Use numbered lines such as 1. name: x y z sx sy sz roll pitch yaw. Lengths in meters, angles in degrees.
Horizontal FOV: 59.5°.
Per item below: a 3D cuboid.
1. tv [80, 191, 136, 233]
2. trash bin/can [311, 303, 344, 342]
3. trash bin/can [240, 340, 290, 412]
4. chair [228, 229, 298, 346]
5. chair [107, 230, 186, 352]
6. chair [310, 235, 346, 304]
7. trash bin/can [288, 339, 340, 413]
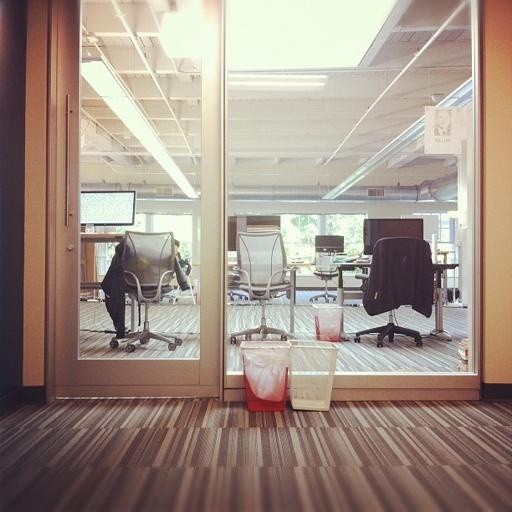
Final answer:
1. tv: -1.459 -0.472 4.493 0.542 0.360 0.208 -5 9 -34
2. trash bin/can: 0.687 0.600 4.134 0.296 0.456 0.305 0 -5 -3
3. trash bin/can: 0.051 0.640 2.580 0.338 0.498 0.317 0 -1 2
4. chair: 0.069 0.290 4.200 0.605 1.058 0.753 1 7 4
5. chair: -0.903 0.294 3.727 0.552 0.966 0.483 0 -1 -17
6. chair: 1.297 0.234 8.168 0.556 1.222 0.557 2 5 -7
7. trash bin/can: 0.293 0.677 2.664 0.366 0.539 0.299 1 -8 -3
